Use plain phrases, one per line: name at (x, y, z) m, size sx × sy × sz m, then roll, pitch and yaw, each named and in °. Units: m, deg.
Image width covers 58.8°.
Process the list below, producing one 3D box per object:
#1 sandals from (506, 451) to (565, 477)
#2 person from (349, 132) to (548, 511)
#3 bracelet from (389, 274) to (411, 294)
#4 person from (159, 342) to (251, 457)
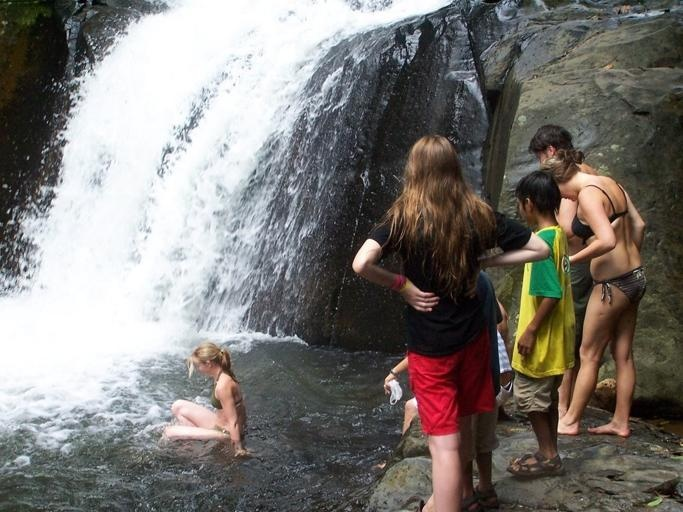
sandals at (1.455, 1.564, 4.555) m, size 0.329 × 0.146 × 0.182 m, roll 0°, pitch 6°, yaw 3°
person at (0.691, 0.403, 4.062) m, size 0.779 × 2.341 × 0.971 m, roll 10°, pitch 18°, yaw 44°
bracelet at (0.374, 0.187, 4.059) m, size 0.094 × 0.120 × 0.053 m, roll -29°, pitch 39°, yaw -17°
person at (-1.379, 1.431, 6.104) m, size 0.858 × 1.077 × 0.626 m, roll 2°, pitch 8°, yaw 4°
